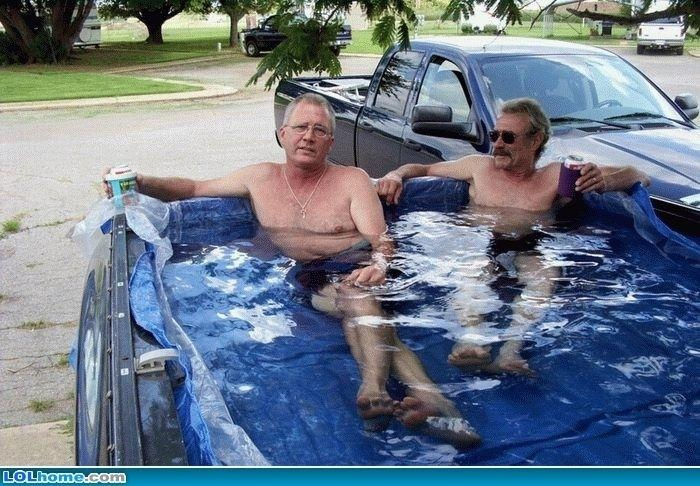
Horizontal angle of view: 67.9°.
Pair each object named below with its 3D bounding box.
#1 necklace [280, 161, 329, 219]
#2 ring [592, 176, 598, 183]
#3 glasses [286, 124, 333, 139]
[{"bbox_3d":[-0.360,-0.384,3.957,0.492,0.348,0.119,6,-6,10],"label":"necklace"},{"bbox_3d":[1.704,-0.445,3.623,0.029,0.035,0.011,-12,34,31],"label":"ring"},{"bbox_3d":[-0.297,-0.815,3.798,0.328,0.101,0.103,-4,20,-5],"label":"glasses"}]
